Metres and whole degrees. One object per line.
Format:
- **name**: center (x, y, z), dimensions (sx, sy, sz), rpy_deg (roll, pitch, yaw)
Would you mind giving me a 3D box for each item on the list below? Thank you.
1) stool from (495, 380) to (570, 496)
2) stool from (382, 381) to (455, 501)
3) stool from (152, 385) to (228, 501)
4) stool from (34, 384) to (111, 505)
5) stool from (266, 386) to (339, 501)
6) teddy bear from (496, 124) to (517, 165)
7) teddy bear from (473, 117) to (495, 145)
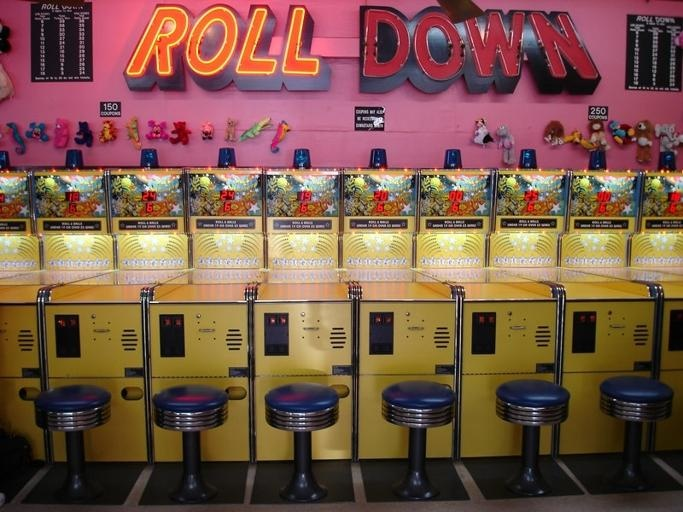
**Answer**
- **stool**: center (1.436, 1.399, 4.916), dimensions (0.600, 1.013, 0.644), rpy_deg (3, 13, 16)
- **stool**: center (0.567, 1.401, 4.794), dimensions (0.528, 0.873, 0.344), rpy_deg (-1, 4, 4)
- **stool**: center (-1.115, 1.410, 4.768), dimensions (0.536, 0.862, 0.348), rpy_deg (-3, 5, -10)
- **stool**: center (-2.007, 1.408, 4.826), dimensions (0.464, 0.801, 0.466), rpy_deg (-3, 8, -31)
- **stool**: center (-0.295, 1.409, 4.765), dimensions (0.536, 0.880, 0.351), rpy_deg (-2, 5, -4)
- **teddy bear**: center (1.768, -1.218, 6.926), dimensions (0.195, 0.408, 0.198), rpy_deg (3, 23, 17)
- **teddy bear**: center (1.483, -1.328, 6.827), dimensions (0.263, 0.322, 0.187), rpy_deg (6, 8, 10)
